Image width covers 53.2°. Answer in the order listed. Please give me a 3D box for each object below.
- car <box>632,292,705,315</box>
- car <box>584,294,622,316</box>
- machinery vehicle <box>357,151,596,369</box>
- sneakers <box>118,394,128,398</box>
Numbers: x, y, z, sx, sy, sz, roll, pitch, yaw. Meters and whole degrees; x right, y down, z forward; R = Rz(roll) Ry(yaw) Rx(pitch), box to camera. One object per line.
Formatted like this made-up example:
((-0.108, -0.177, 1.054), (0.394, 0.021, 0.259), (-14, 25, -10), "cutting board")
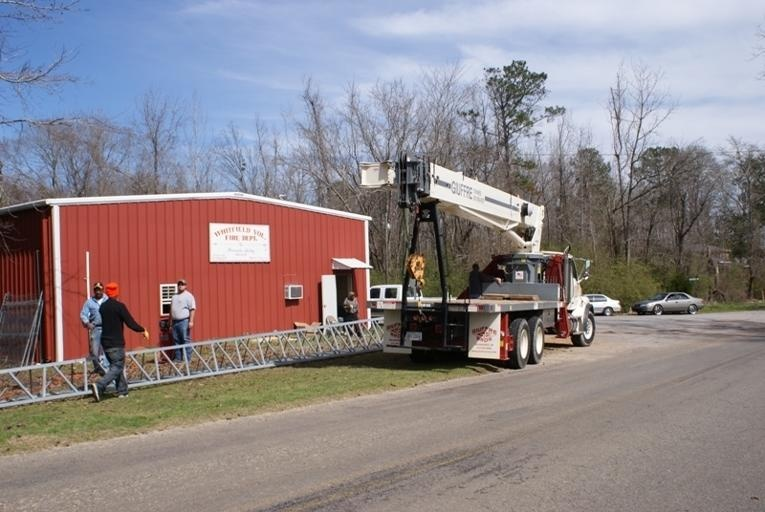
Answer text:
((16.314, 2.774, 43.796), (3.690, 1.241, 1.605), (5, -8, -30), "car")
((11.506, 2.567, 39.906), (2.854, 1.141, 1.404), (3, -4, -10), "car")
((2.840, 0.248, 22.138), (2.945, 5.812, 8.514), (-1, 1, 40), "machinery vehicle")
((-6.071, 3.295, 17.959), (0.183, 0.092, 0.078), (7, -10, -10), "sneakers")
